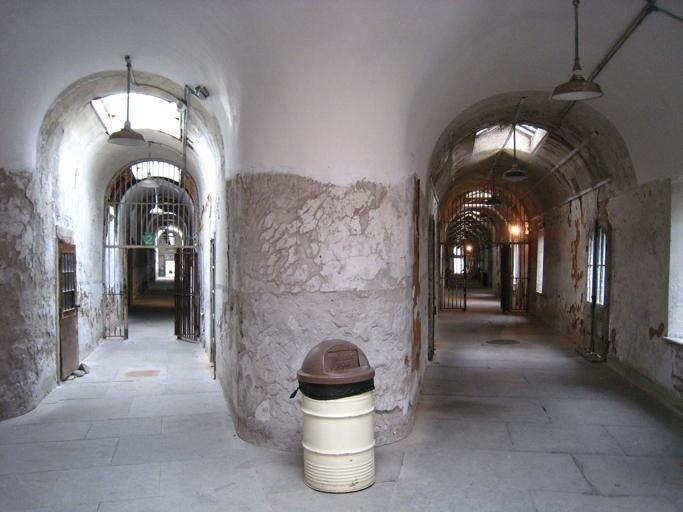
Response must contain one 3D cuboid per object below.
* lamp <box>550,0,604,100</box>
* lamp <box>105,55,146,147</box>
[{"bbox_3d":[2.879,-2.382,5.779,0.502,1.188,1.150,1,0,28],"label":"lamp"},{"bbox_3d":[-3.427,-2.255,7.603,0.478,1.177,2.183,0,0,-25],"label":"lamp"}]
